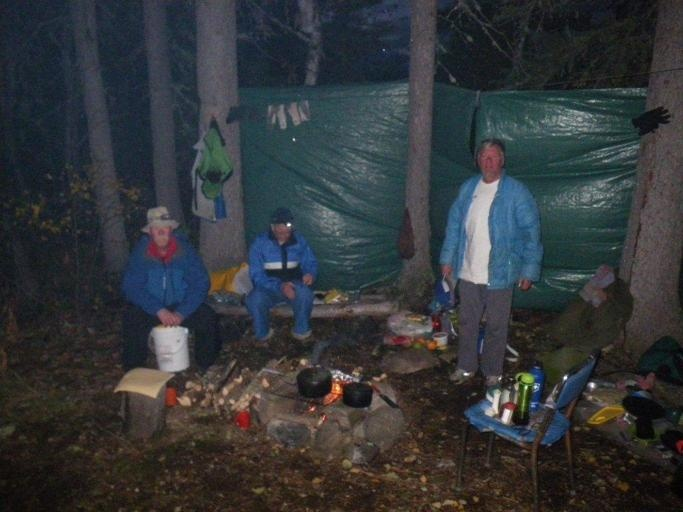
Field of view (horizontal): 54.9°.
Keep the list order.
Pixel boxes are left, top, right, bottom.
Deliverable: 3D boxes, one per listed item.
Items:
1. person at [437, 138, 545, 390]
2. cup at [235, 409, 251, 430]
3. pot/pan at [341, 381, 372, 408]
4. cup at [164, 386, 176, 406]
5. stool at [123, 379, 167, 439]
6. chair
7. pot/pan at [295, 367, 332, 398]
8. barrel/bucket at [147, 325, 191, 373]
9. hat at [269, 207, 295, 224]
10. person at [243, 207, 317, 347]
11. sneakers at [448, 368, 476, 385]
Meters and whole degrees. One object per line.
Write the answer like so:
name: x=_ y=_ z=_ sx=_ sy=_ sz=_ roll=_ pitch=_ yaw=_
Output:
person: x=1.929 y=0.121 z=8.584 sx=1.272 sy=3.205 sz=0.779 roll=5 pitch=18 yaw=17
cup: x=-1.216 y=2.050 z=8.232 sx=0.188 sy=0.185 sz=0.115 roll=-37 pitch=-25 yaw=18
pot/pan: x=0.187 y=1.697 z=7.987 sx=0.294 sy=0.170 sz=0.290 roll=0 pitch=3 yaw=-7
cup: x=-2.188 y=1.801 z=8.427 sx=0.193 sy=0.296 sz=0.207 roll=0 pitch=-5 yaw=0
stool: x=-2.366 y=1.910 z=8.180 sx=0.591 sy=0.650 sz=0.579 roll=0 pitch=-1 yaw=1
chair: x=2.030 y=1.878 z=7.155 sx=1.368 sy=1.648 sz=0.715 roll=3 pitch=17 yaw=9
pot/pan: x=-0.340 y=1.534 z=8.120 sx=0.368 sy=0.249 sz=0.367 roll=6 pitch=23 yaw=17
barrel/bucket: x=-2.237 y=1.207 z=8.811 sx=0.598 sy=0.595 sz=0.579 roll=-1 pitch=4 yaw=0
hat: x=-0.892 y=-0.601 z=9.908 sx=0.230 sy=0.270 sz=0.285 roll=-2 pitch=-1 yaw=-6
person: x=-0.912 y=0.267 z=10.037 sx=1.045 sy=1.947 sz=0.831 roll=-1 pitch=17 yaw=-3
sneakers: x=1.628 y=1.626 z=8.906 sx=0.334 sy=0.139 sz=0.166 roll=-5 pitch=17 yaw=-23
